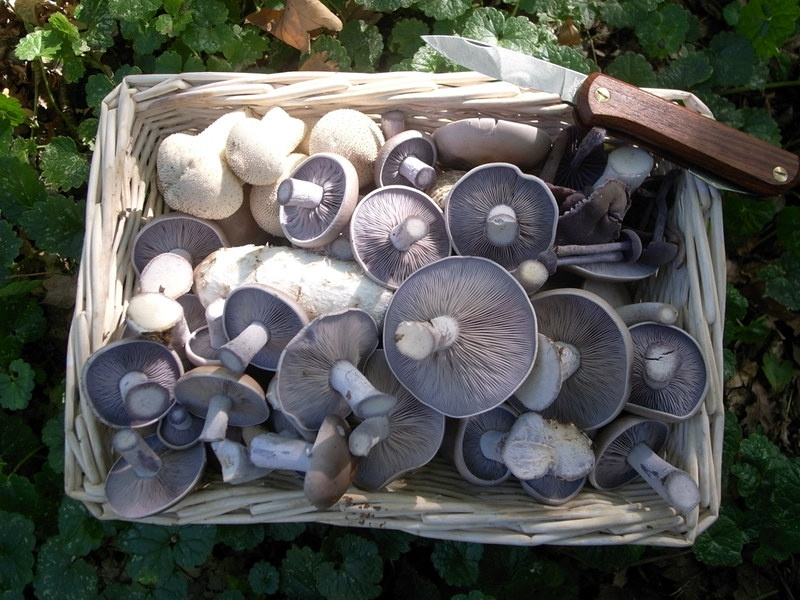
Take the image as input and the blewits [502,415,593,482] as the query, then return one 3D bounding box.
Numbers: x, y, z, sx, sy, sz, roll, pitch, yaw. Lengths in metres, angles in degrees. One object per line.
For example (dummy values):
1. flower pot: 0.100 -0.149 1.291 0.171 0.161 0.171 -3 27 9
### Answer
1. blewits: 0.790 0.804 4.307 0.498 0.231 0.345 17 85 4
